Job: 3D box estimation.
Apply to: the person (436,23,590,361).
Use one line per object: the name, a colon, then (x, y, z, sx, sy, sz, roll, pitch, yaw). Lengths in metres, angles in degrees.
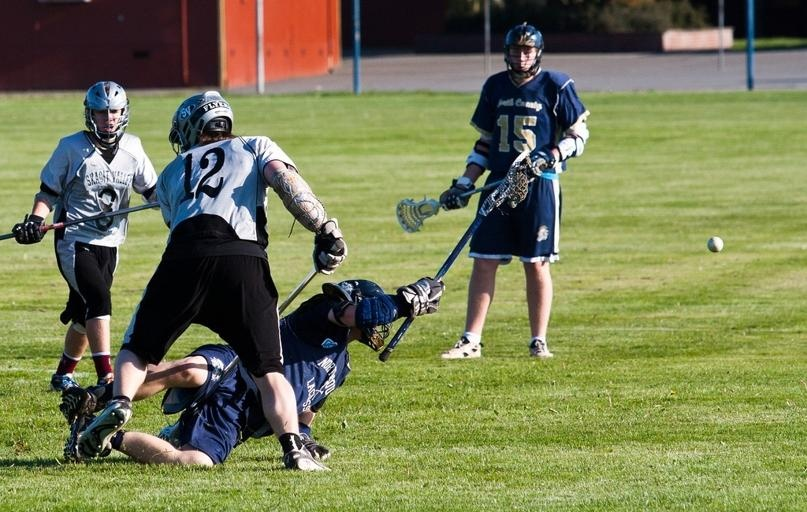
person: (1.210, -0.709, 16.300, 1.472, 3.430, 0.770, -2, 8, 6)

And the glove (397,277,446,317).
glove: (0.163, 0.331, 14.379, 0.462, 0.282, 0.188, -15, 22, -31)

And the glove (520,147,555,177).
glove: (1.415, -0.989, 16.041, 0.370, 0.157, 0.253, -6, 39, -9)

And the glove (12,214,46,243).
glove: (-3.793, -0.301, 15.606, 0.327, 0.299, 0.195, -3, 8, -4)

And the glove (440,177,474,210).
glove: (0.544, -0.684, 16.485, 0.342, 0.339, 0.156, -48, 44, -10)

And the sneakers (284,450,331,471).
sneakers: (-0.895, 1.820, 14.073, 0.474, 0.168, 0.163, 1, 0, 2)

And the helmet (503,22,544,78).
helmet: (1.268, -2.183, 16.339, 0.400, 0.539, 0.383, -2, 8, 4)

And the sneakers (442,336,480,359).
sneakers: (0.637, 0.940, 16.266, 0.537, 0.205, 0.174, 1, 0, -20)
